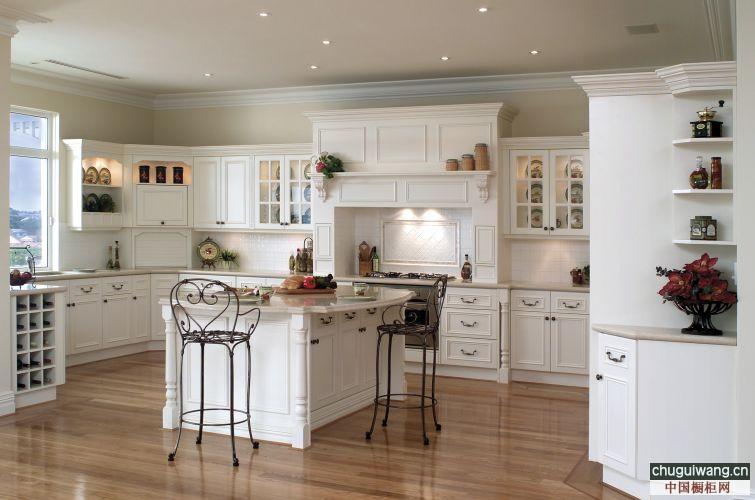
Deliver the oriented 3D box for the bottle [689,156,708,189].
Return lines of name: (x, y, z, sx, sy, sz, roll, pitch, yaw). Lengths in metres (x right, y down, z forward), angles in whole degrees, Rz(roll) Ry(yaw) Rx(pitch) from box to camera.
bottle: (2.530, -0.605, 4.436, 0.141, 0.256, 0.177, 2, 6, 17)

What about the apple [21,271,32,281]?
apple: (-3.888, 0.285, 6.302, 0.071, 0.092, 0.042, 2, 15, -30)

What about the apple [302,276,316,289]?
apple: (-0.689, 0.326, 5.748, 0.119, 0.102, 0.116, 0, 3, 29)

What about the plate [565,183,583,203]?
plate: (2.504, -0.709, 7.123, 0.245, 0.224, 0.225, 1, 7, 20)

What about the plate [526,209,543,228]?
plate: (2.049, -0.412, 7.283, 0.232, 0.214, 0.053, 2, -1, 28)

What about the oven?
oven: (0.391, 0.745, 5.833, 0.661, 0.827, 0.640, 2, 7, 19)

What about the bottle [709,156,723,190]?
bottle: (2.649, -0.602, 4.426, 0.079, 0.241, 0.110, 3, 6, 26)

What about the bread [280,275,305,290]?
bread: (-0.875, 0.334, 5.921, 0.223, 0.119, 0.384, -1, -1, 2)

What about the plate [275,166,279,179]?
plate: (-1.456, -1.138, 8.358, 0.030, 0.129, 0.138, 2, -2, -22)

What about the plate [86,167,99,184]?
plate: (-4.104, -1.081, 8.154, 0.176, 0.214, 0.217, -1, 0, -5)

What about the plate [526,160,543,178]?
plate: (2.021, -1.042, 7.254, 0.255, 0.317, 0.044, 0, -1, 27)

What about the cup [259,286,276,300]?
cup: (-1.064, 0.407, 5.483, 0.113, 0.082, 0.119, 0, -1, 0)

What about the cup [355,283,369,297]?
cup: (-0.147, 0.399, 5.693, 0.082, 0.074, 0.113, -2, -3, 44)

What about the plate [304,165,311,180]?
plate: (-1.000, -1.134, 8.197, 0.208, 0.193, 0.034, -7, -10, 35)

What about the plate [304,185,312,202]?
plate: (-1.003, -0.821, 8.238, 0.048, 0.182, 0.201, 3, 1, -18)

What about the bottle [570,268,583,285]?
bottle: (2.531, 0.324, 7.168, 0.218, 0.200, 0.123, -1, -4, 19)
